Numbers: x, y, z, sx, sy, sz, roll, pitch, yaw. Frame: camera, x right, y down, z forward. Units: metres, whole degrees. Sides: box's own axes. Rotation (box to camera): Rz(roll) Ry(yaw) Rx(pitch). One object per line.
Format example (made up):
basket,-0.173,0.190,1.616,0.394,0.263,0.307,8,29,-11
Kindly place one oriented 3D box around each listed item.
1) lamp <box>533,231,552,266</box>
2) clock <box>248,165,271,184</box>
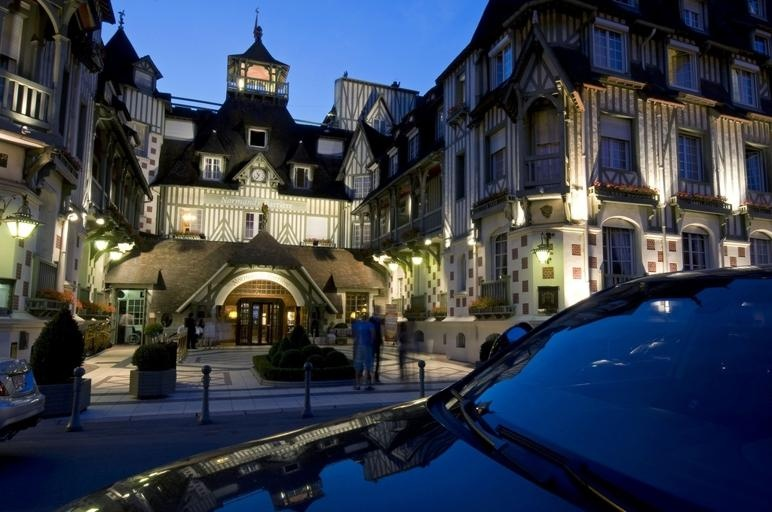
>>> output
lamp,5.375,-0.263,21.024,0.705,1.138,0.502,1,-1,14
clock,-8.420,-5.388,40.473,1.175,1.427,0.139,2,-8,-19
